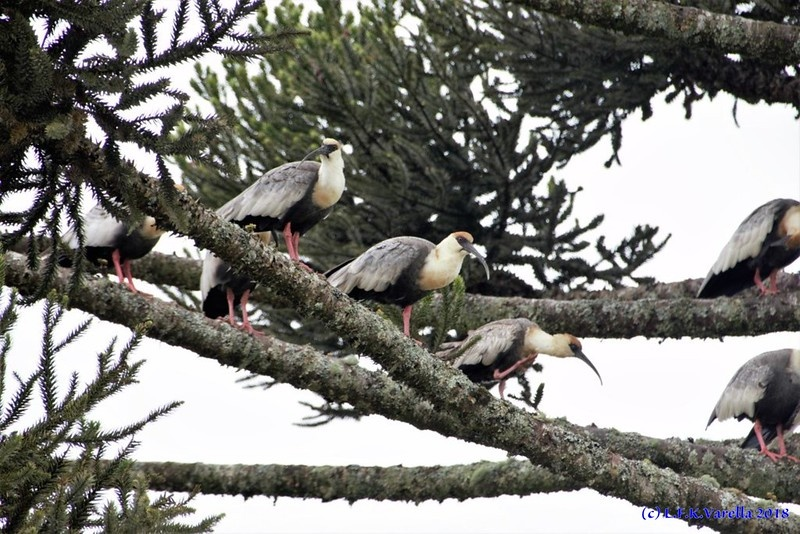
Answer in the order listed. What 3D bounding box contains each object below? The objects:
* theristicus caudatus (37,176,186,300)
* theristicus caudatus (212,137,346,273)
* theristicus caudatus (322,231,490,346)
[{"bbox_3d":[-2.957,-0.173,15.574,0.912,1.017,1.915,15,-29,-12],"label":"theristicus caudatus"},{"bbox_3d":[-1.183,-0.639,15.490,1.366,1.261,0.698,-2,-11,18],"label":"theristicus caudatus"},{"bbox_3d":[0.026,0.169,15.499,1.819,1.126,0.847,4,-1,29],"label":"theristicus caudatus"}]
